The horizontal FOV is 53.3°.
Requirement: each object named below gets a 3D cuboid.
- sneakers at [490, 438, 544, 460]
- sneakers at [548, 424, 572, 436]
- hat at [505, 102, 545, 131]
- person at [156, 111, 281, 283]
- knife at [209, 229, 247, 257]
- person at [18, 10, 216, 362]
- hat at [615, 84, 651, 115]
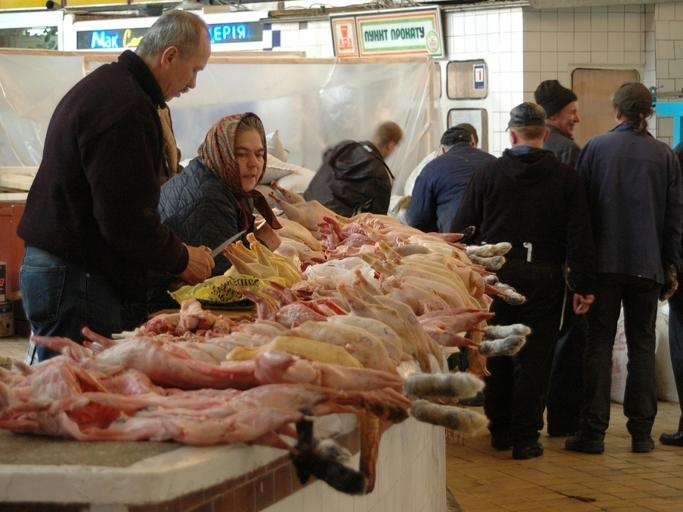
[{"bbox_3d":[1.286,1.388,4.951,0.407,0.167,0.133,6,-6,-42],"label":"sneakers"},{"bbox_3d":[1.735,1.385,5.417,0.151,0.054,0.087,0,-2,9],"label":"sneakers"},{"bbox_3d":[1.354,-1.032,4.943,0.251,0.185,0.195,1,13,13],"label":"hat"},{"bbox_3d":[-0.561,-0.400,3.611,0.792,0.847,0.677,-1,10,-12],"label":"person"},{"bbox_3d":[-0.516,-0.061,3.041,0.227,0.030,0.018,-34,-2,-6],"label":"knife"},{"bbox_3d":[-0.958,-0.300,2.892,0.878,1.491,0.440,-6,14,-19],"label":"person"},{"bbox_3d":[2.151,-1.191,5.102,0.217,0.261,0.271,-1,17,7],"label":"hat"}]
